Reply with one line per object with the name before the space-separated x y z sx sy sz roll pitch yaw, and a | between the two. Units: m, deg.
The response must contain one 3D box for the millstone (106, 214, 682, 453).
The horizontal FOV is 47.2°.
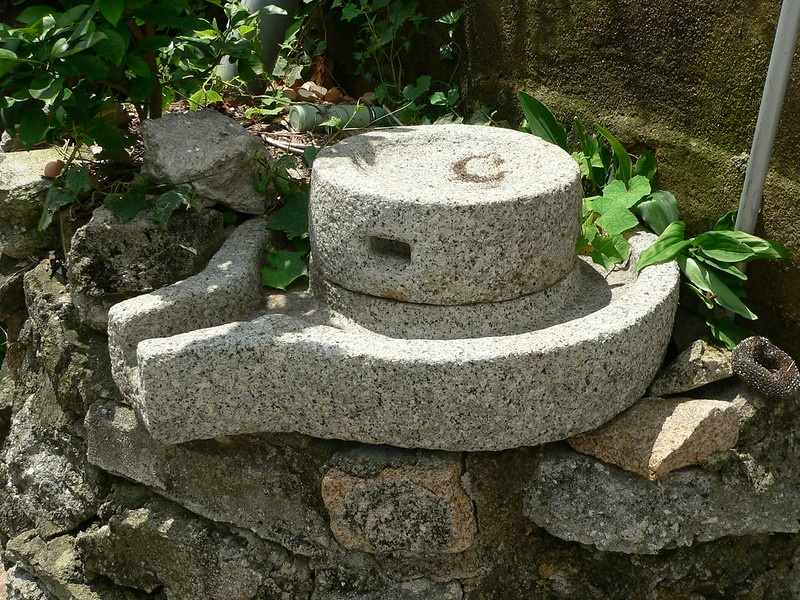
millstone | -0.052 0.184 3.539 2.177 0.540 0.756 -3 48 5
